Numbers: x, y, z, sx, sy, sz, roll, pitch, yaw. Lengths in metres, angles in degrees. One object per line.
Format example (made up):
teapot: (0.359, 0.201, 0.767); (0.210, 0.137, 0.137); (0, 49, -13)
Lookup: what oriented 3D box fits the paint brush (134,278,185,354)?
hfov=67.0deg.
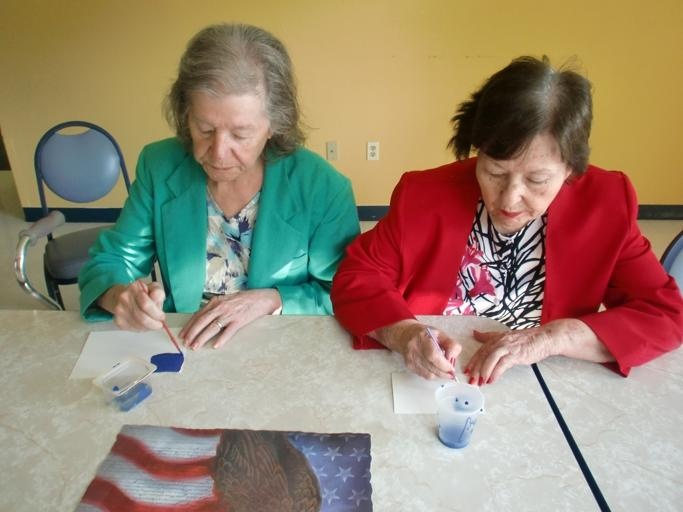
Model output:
paint brush: (-0.575, 0.191, 1.619); (0.031, 0.221, 0.031); (-23, 12, 6)

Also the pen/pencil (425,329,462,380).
pen/pencil: (0.279, 0.276, 1.435); (0.021, 0.016, 0.152); (16, 41, -46)

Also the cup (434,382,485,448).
cup: (0.288, 0.417, 1.280); (0.090, 0.104, 0.107); (5, 12, -26)

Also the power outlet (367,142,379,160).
power outlet: (0.243, -0.842, 4.088); (0.104, 0.168, 0.015); (-1, 22, -3)
